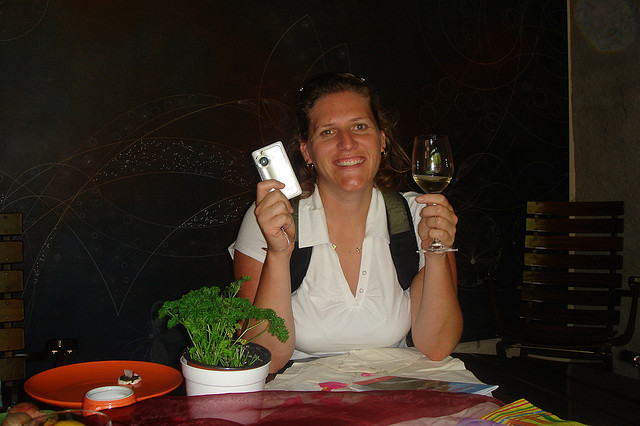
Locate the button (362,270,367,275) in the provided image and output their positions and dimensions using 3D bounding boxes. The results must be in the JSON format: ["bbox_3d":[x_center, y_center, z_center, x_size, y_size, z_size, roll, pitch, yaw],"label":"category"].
[{"bbox_3d":[0.196,0.266,2.044,0.016,0.016,0.004,1,-11,-5],"label":"button"}]

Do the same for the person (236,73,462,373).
[{"bbox_3d":[0.118,0.103,2.088,0.990,1.481,0.869,-2,-2,1],"label":"person"}]

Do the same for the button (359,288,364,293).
[{"bbox_3d":[0.184,0.341,2.031,0.020,0.018,0.007,2,4,1],"label":"button"}]

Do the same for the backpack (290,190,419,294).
[{"bbox_3d":[0.184,0.171,2.230,0.515,0.487,0.389,-13,-21,11],"label":"backpack"}]

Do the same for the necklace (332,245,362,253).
[{"bbox_3d":[0.123,0.164,2.089,0.141,0.034,0.039,1,4,-11],"label":"necklace"}]

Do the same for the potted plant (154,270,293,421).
[{"bbox_3d":[-0.308,0.394,1.408,0.363,0.371,0.278,3,5,21],"label":"potted plant"}]

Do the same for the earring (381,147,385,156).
[{"bbox_3d":[0.328,-0.313,2.373,0.010,0.036,0.055,2,4,12],"label":"earring"}]

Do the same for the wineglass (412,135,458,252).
[{"bbox_3d":[0.459,-0.154,1.878,0.162,0.323,0.124,3,5,14],"label":"wineglass"}]
